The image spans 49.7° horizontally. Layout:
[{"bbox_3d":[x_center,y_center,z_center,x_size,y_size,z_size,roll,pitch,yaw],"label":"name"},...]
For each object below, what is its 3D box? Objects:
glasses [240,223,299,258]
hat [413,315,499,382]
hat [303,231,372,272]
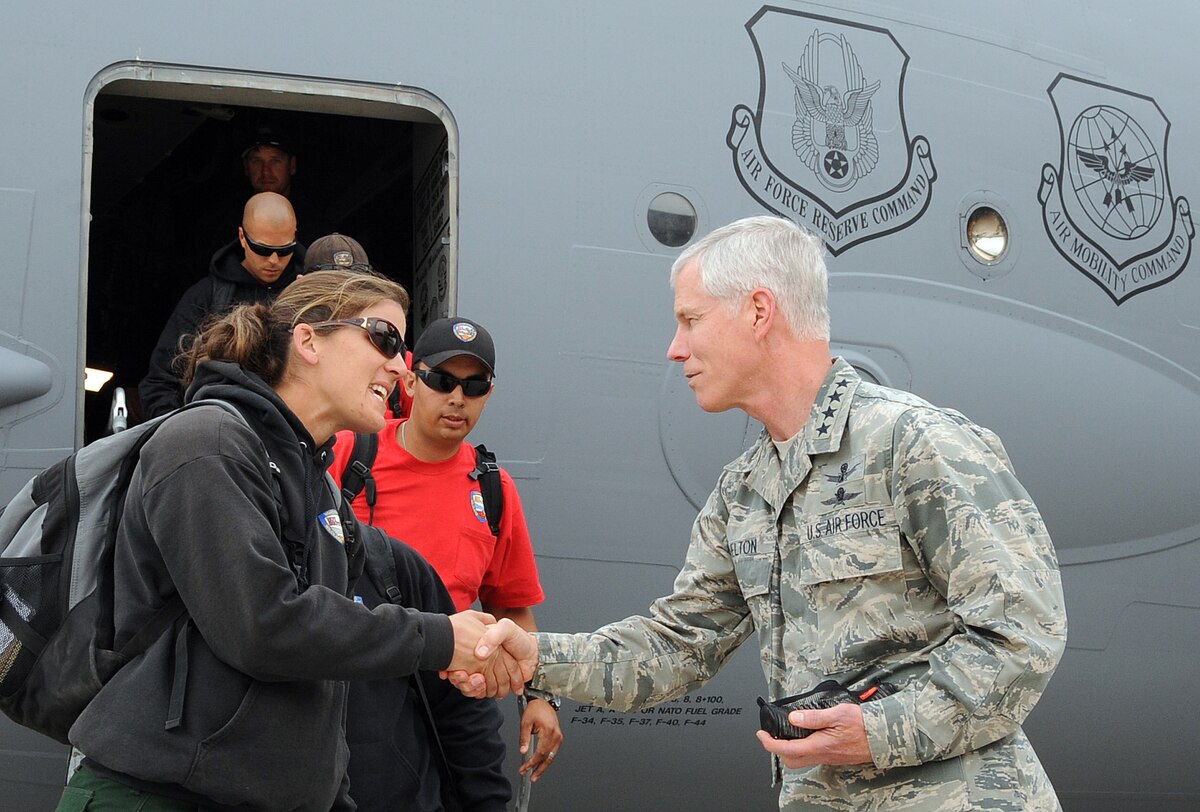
[{"bbox_3d":[-1.409,-0.713,5.516,0.245,0.114,0.114,3,-2,-31],"label":"glasses"},{"bbox_3d":[-0.552,-0.245,5.068,0.306,0.227,0.434,7,-15,-15],"label":"hat"},{"bbox_3d":[-1.063,-0.629,5.164,0.202,0.161,0.313,1,5,-12],"label":"hat"}]
